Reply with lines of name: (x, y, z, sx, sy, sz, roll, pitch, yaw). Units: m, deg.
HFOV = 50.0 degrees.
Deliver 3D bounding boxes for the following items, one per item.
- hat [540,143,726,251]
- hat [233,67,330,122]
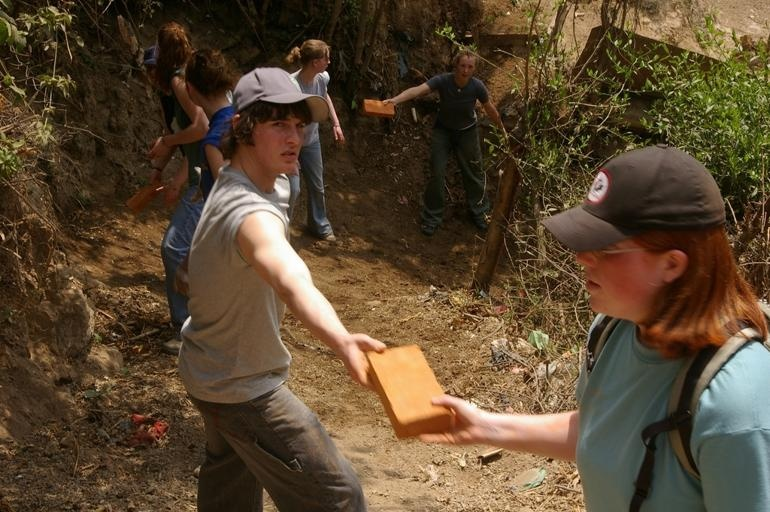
hat: (1.394, -0.361, 4.526, 0.757, 0.431, 0.554, 3, 9, 7)
hat: (-0.713, -1.109, 5.506, 0.468, 0.283, 0.372, 1, 18, 22)
